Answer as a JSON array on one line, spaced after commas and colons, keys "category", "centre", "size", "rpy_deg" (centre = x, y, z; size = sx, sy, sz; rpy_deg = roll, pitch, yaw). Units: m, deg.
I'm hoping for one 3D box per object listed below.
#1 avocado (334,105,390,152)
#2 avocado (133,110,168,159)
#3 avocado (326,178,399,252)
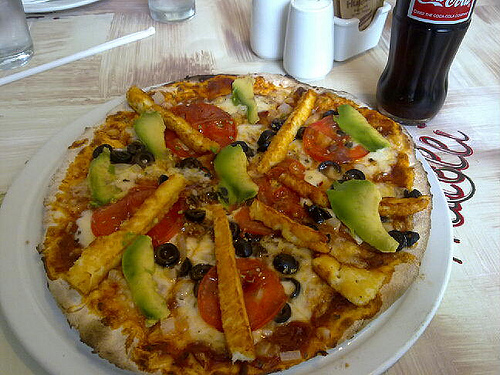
[{"category": "avocado", "centre": [0.389, -0.235, 1.719], "size": [0.230, 0.148, 0.222], "rpy_deg": [3, 25, 6]}, {"category": "avocado", "centre": [-0.360, -0.188, 1.666], "size": [0.123, 0.046, 0.187], "rpy_deg": [-41, 94, -33]}, {"category": "avocado", "centre": [0.359, 0.084, 1.471], "size": [0.192, 0.102, 0.282], "rpy_deg": [-6, 65, 1]}]
